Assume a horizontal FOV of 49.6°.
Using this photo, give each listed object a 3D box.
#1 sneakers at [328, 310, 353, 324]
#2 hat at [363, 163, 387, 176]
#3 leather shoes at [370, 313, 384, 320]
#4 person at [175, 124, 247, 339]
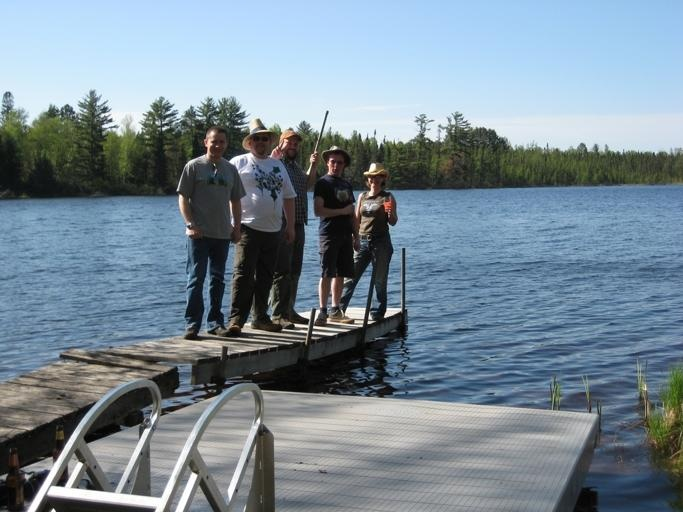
[{"bbox_3d":[-0.020,0.859,10.549,0.335,0.161,0.161,3,3,-13],"label":"sneakers"},{"bbox_3d":[0.493,-1.236,10.451,0.245,0.129,0.299,-2,-5,8],"label":"hat"},{"bbox_3d":[0.534,0.886,11.074,0.117,0.092,0.117,2,0,-34],"label":"leather shoes"},{"bbox_3d":[-1.564,-0.265,8.692,0.783,2.475,0.491,-3,6,-26],"label":"person"}]
